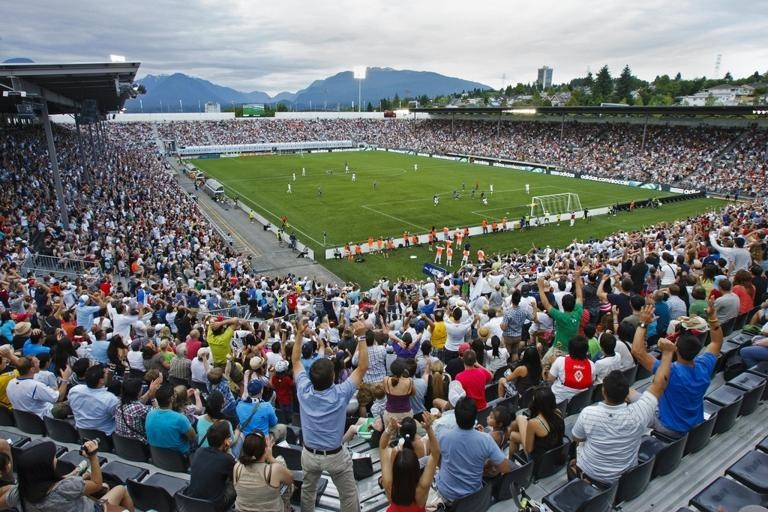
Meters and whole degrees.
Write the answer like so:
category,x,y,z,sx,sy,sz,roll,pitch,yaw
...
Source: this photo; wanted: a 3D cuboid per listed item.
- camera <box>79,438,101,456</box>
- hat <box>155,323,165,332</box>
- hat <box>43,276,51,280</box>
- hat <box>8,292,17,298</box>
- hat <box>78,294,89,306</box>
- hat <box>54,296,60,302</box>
category,x,y,z,sx,sy,sz,roll,pitch,yaw
camera,-5.330,3.463,9.950,0.326,0.374,0.236,15,24,39
hat,-6.741,2.139,16.501,0.342,0.116,0.358,1,18,27
hat,-12.266,0.775,20.008,0.225,0.071,0.154,1,-9,-13
hat,-12.239,1.255,18.117,0.183,0.173,0.157,34,47,18
hat,-9.597,1.390,17.429,0.256,0.372,0.365,8,-14,-9
hat,-11.629,1.528,19.521,0.218,0.100,0.307,7,13,-38
